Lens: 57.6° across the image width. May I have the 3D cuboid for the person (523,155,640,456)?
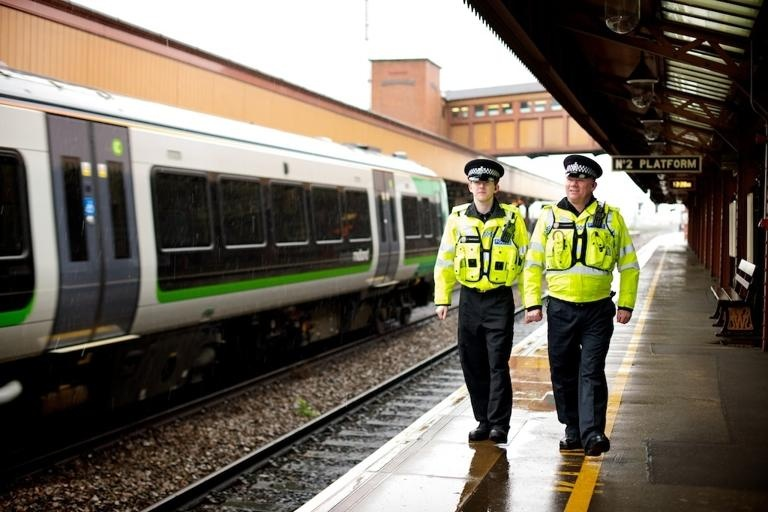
[{"bbox_3d":[1.909,0.476,6.925,1.065,2.961,0.730,5,6,19],"label":"person"}]

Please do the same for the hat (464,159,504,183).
[{"bbox_3d":[1.022,-0.908,7.206,0.373,0.241,0.328,5,7,11],"label":"hat"}]

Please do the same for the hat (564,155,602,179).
[{"bbox_3d":[1.941,-0.892,6.852,0.341,0.229,0.297,6,7,19],"label":"hat"}]

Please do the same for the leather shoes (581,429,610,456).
[{"bbox_3d":[2.015,1.794,6.657,0.220,0.233,0.134,4,6,4],"label":"leather shoes"}]
